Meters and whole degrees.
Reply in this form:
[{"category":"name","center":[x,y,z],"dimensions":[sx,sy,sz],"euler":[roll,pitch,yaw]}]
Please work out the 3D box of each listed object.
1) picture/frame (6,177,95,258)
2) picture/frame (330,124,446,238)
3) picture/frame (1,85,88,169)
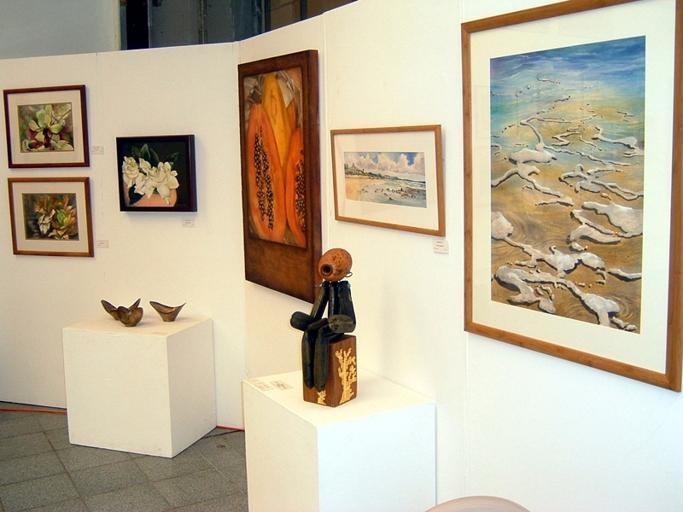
[{"category":"picture/frame","center":[-3.658,-0.523,6.932],"dimensions":[0.935,0.834,0.039],"euler":[5,14,22]},{"category":"picture/frame","center":[0.317,-0.608,4.262],"dimensions":[0.090,0.797,1.263],"euler":[-6,11,-37]},{"category":"picture/frame","center":[-3.673,-1.635,6.823],"dimensions":[0.986,0.976,0.043],"euler":[2,7,15]}]
